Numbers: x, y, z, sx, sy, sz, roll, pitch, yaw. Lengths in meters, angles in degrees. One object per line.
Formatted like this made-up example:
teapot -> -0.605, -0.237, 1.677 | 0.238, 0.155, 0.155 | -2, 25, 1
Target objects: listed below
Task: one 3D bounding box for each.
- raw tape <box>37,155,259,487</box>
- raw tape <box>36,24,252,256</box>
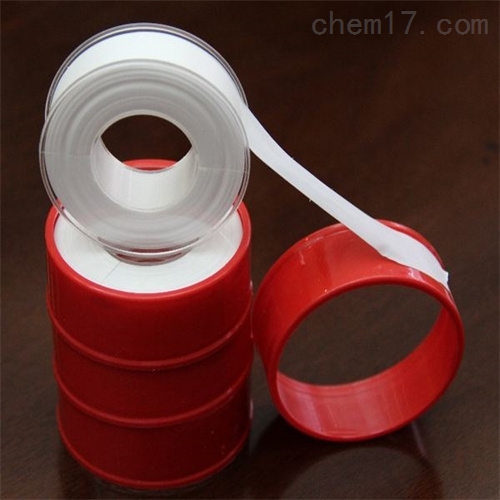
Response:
raw tape -> -0.401, 0.309, 2.148 | 0.463, 0.696, 0.576 | 8, 28, 4
raw tape -> -0.292, -0.283, 1.790 | 0.531, 0.723, 0.229 | 1, 32, -5
